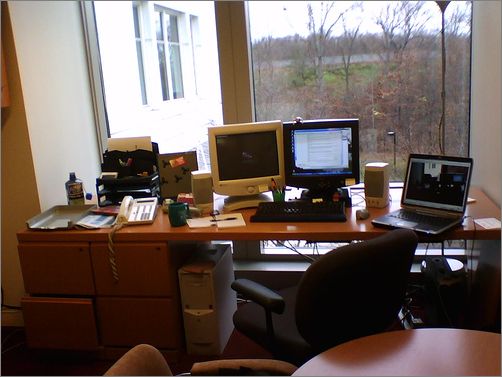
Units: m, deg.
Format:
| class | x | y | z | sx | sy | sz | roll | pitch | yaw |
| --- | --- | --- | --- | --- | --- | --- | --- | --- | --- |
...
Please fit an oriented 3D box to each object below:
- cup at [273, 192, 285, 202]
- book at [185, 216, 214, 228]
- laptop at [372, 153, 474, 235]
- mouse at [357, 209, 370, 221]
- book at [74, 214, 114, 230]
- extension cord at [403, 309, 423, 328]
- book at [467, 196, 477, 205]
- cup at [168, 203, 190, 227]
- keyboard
| class | x | y | z | sx | sy | sz | roll | pitch | yaw |
| --- | --- | --- | --- | --- | --- | --- | --- | --- | --- |
| cup | 0.200 | 0.050 | 2.929 | 0.098 | 0.077 | 0.056 | 0 | 4 | 11 |
| book | -0.328 | 0.222 | 2.733 | 0.185 | 0.021 | 0.167 | -6 | 15 | -5 |
| laptop | 1.109 | -0.007 | 2.610 | 0.577 | 0.438 | 0.460 | -10 | 14 | -40 |
| mouse | 0.713 | 0.162 | 2.637 | 0.063 | 0.057 | 0.094 | 8 | 20 | 40 |
| book | -1.048 | 0.224 | 2.815 | 0.123 | 0.031 | 0.129 | 4 | 18 | 3 |
| extension cord | 1.121 | 0.919 | 2.921 | 0.106 | 0.146 | 0.137 | -4 | -2 | 0 |
| book | 1.472 | 0.077 | 2.774 | 0.074 | 0.018 | 0.078 | 4 | 18 | 25 |
| cup | -0.470 | 0.166 | 2.684 | 0.154 | 0.151 | 0.112 | -1 | 11 | -17 |
| keyboard | 0.310 | 0.154 | 2.720 | 0.611 | 0.084 | 0.212 | -1 | 15 | 12 |
